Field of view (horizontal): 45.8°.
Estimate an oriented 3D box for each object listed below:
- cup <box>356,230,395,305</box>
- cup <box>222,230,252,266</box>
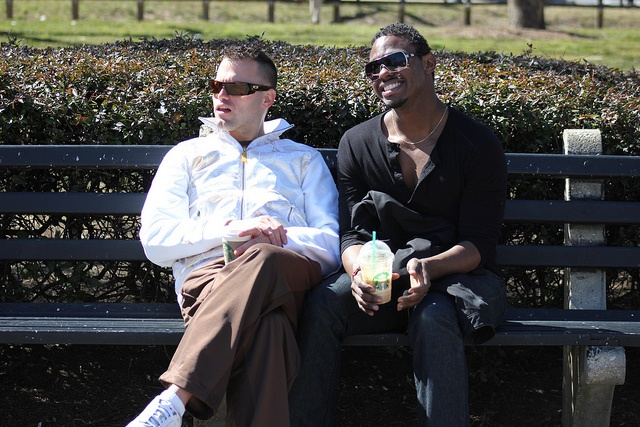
[{"bbox_3d":[0.378,0.364,5.279,0.236,0.485,0.193,3,12,10],"label":"cup"},{"bbox_3d":[-0.601,0.244,5.488,0.262,0.271,0.261,0,-1,0],"label":"cup"}]
